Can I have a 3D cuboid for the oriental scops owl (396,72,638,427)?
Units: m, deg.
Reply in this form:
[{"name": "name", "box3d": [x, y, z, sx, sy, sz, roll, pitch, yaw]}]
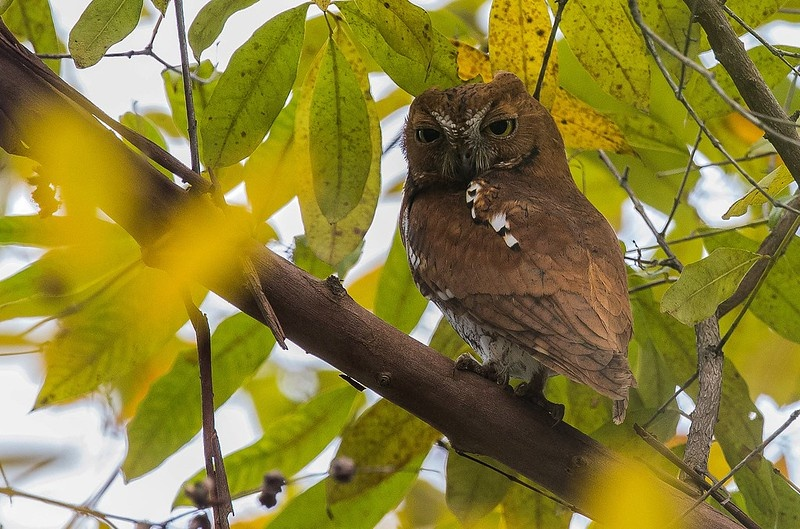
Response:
[{"name": "oriental scops owl", "box3d": [0.347, -0.069, 4.066, 0.649, 1.249, 0.981, -34, -65, 21]}]
